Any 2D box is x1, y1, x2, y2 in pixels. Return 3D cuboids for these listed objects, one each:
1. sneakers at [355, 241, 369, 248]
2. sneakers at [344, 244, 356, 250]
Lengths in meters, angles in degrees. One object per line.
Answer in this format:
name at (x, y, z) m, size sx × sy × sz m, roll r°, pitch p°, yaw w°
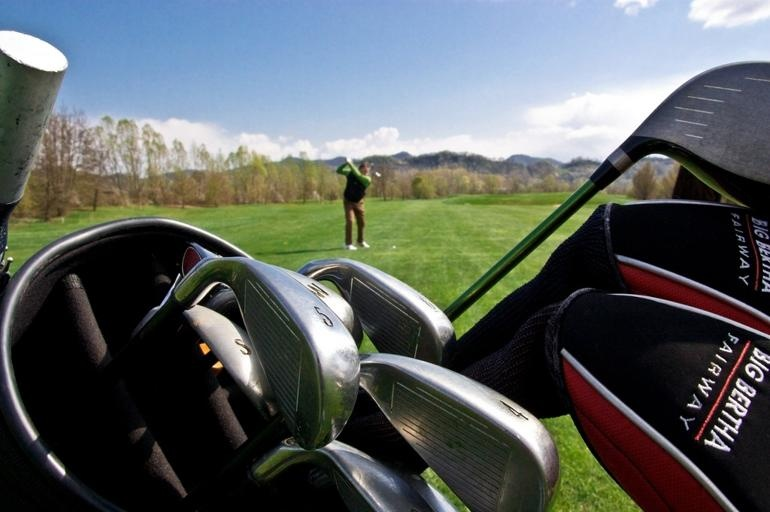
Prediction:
sneakers at (-0.540, -0.260, 10.255) m, size 0.284 × 0.130 × 0.125 m, roll 13°, pitch 18°, yaw 31°
sneakers at (-0.806, -0.195, 9.938) m, size 0.115 × 0.134 × 0.294 m, roll -5°, pitch 1°, yaw -39°
